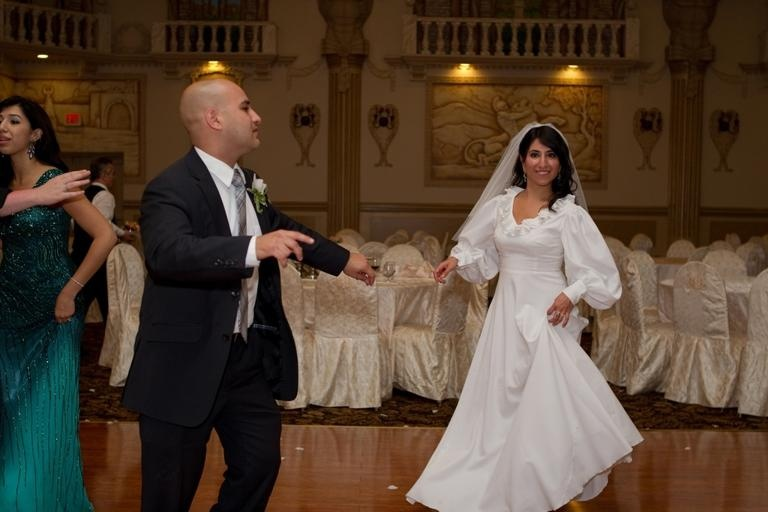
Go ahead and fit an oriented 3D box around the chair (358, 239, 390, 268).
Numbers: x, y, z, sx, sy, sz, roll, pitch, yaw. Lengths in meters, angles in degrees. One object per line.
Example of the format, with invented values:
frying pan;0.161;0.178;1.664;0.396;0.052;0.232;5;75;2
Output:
chair;-0.060;-0.037;7.685;0.297;0.258;0.310;1;1;33

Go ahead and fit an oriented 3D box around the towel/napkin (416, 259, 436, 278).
towel/napkin;0.431;0.127;6.727;0.170;0.094;0.246;0;4;1

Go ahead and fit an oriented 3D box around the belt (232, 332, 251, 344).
belt;-0.653;0.372;3.099;0.037;0.039;0.055;20;-10;-41

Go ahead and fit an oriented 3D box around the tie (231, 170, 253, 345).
tie;-0.675;-0.003;3.139;0.077;0.807;0.081;-8;-12;33

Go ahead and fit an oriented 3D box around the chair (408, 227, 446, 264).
chair;0.610;-0.014;8.794;0.425;0.284;0.618;-8;29;-16

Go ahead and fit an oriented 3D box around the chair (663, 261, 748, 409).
chair;2.952;0.602;6.011;0.706;1.238;0.698;0;11;37

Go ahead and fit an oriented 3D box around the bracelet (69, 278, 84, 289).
bracelet;-1.615;0.138;3.510;0.050;0.014;0.051;47;-12;-31

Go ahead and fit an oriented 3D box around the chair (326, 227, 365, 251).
chair;-0.448;-0.215;8.686;0.342;0.172;0.488;15;-5;21
